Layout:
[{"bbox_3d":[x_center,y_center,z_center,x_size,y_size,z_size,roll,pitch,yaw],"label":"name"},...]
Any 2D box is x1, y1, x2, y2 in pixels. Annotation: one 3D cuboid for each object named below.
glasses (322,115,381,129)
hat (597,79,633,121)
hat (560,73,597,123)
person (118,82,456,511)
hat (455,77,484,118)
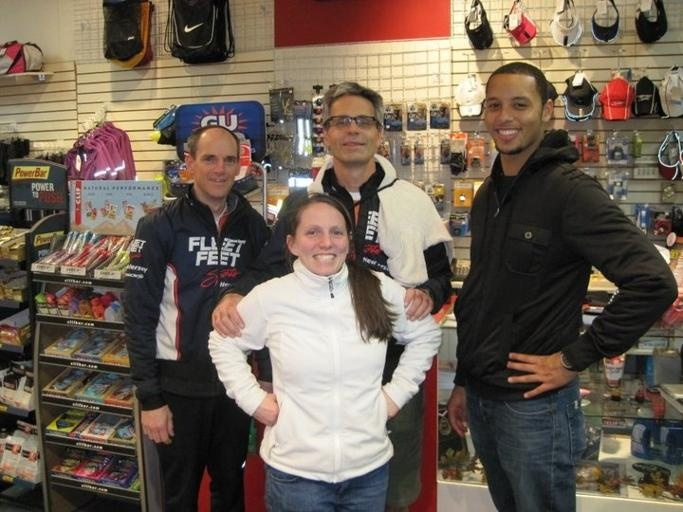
[{"bbox_3d":[0.053,-0.712,3.212,0.308,0.069,0.109,-1,6,4],"label":"glasses"},{"bbox_3d":[2.517,-1.433,5.519,0.238,0.411,0.153,4,9,12],"label":"hat"},{"bbox_3d":[2.233,-1.558,5.672,0.367,0.200,0.544,0,-11,23],"label":"hat"},{"bbox_3d":[0.047,0.258,3.314,1.073,2.387,0.517,0,5,16],"label":"person"},{"bbox_3d":[1.213,-1.500,5.714,0.234,0.388,0.188,6,17,16],"label":"hat"}]
